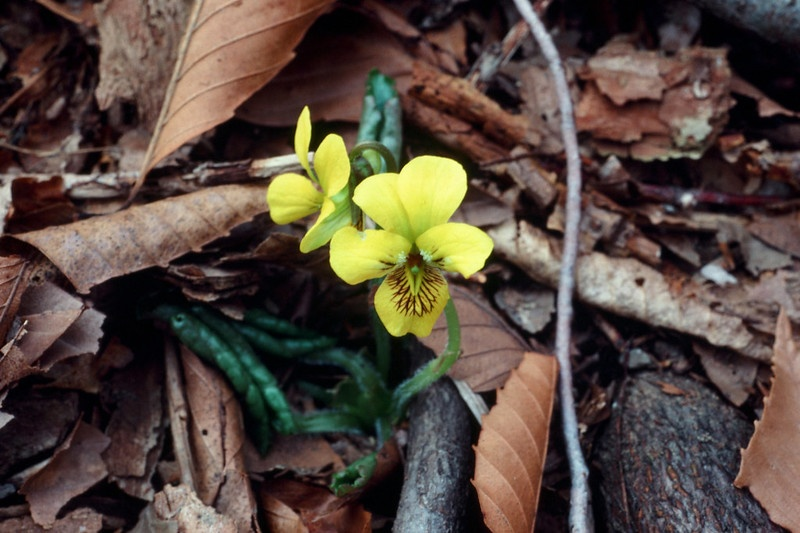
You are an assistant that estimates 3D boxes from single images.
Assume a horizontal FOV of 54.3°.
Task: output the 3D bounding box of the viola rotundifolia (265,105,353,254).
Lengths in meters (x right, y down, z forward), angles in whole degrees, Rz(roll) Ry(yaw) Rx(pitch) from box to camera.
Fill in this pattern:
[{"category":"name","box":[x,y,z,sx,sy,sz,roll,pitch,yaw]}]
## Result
[{"category":"viola rotundifolia","box":[-0.339,-0.307,3.002,0.203,0.499,0.457,10,25,-41]}]
